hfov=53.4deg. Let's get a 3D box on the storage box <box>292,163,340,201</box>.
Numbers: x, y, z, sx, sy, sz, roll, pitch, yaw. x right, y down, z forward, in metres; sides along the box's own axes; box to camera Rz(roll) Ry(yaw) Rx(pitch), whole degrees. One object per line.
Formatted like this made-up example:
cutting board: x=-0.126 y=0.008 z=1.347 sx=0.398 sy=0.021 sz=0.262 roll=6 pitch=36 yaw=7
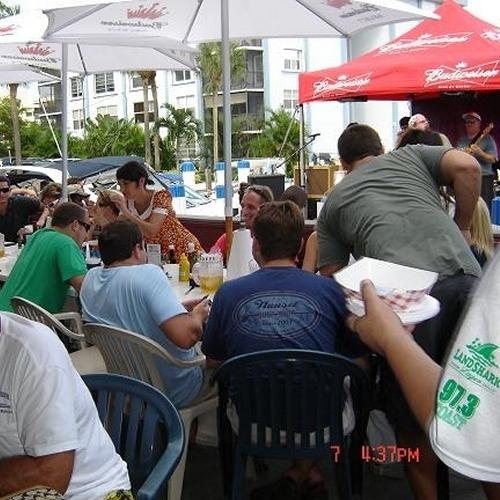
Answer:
storage box: x=1.093 y=-1.172 z=8.590 sx=0.647 sy=0.598 sz=0.684 roll=6 pitch=13 yaw=28
